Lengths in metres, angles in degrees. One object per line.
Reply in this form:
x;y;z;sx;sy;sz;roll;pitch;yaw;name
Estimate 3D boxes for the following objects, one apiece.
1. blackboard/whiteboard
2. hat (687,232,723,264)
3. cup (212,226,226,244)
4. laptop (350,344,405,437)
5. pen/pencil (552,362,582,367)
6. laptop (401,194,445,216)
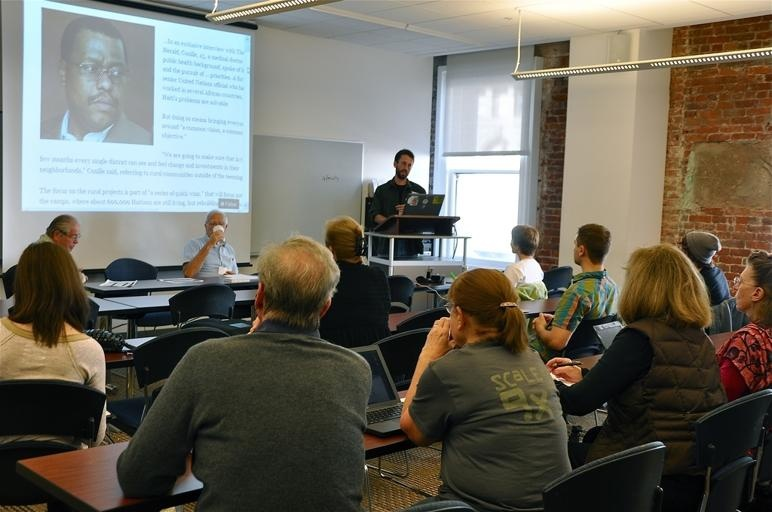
-0.994;-0.753;6.640;1.735;1.595;0.082;-2;4;-35;blackboard/whiteboard
2.479;-0.089;4.591;0.214;0.209;0.278;-20;31;-24;hat
-1.679;-0.219;5.860;0.121;0.140;0.156;1;8;0;cup
-0.030;0.569;2.493;0.282;0.224;0.316;3;3;43;laptop
0.924;0.557;2.979;0.148;0.025;0.024;-7;6;24;pen/pencil
0.408;-0.540;6.192;0.456;0.233;0.105;-4;7;-23;laptop
